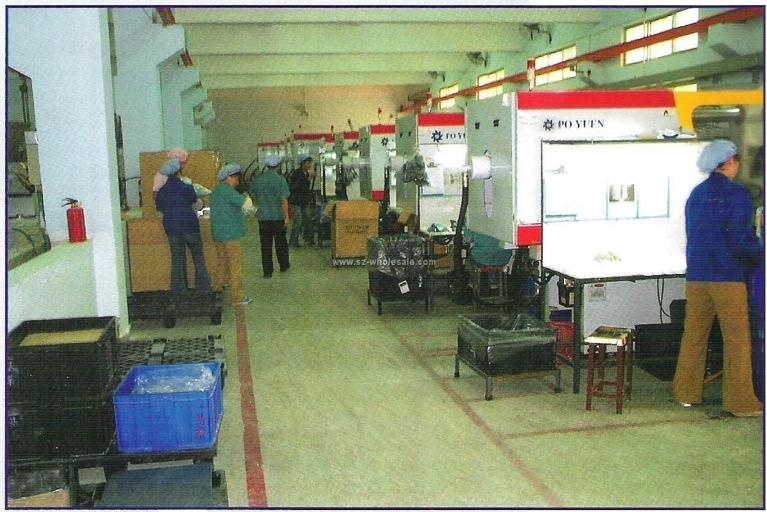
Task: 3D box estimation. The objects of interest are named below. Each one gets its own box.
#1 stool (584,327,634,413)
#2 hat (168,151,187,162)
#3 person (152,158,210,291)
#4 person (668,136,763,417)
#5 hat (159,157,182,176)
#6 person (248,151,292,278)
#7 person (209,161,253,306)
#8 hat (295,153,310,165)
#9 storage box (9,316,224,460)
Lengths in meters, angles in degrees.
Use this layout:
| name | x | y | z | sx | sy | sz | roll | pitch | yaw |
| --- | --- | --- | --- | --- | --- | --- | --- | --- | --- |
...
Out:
| name | x | y | z | sx | sy | sz | roll | pitch | yaw |
| --- | --- | --- | --- | --- | --- | --- | --- | --- | --- |
| stool | 1.865 | 0.867 | 5.675 | 0.378 | 0.600 | 0.875 | 0 | 7 | 17 |
| hat | -2.307 | -1.135 | 7.803 | 0.171 | 0.113 | 0.125 | -19 | 32 | -26 |
| person | -2.249 | -0.382 | 7.706 | 0.511 | 1.592 | 0.468 | -5 | 9 | -16 |
| person | 2.545 | 0.286 | 5.239 | 0.617 | 1.837 | 0.267 | 1 | 9 | 21 |
| hat | -2.347 | -0.980 | 7.627 | 0.225 | 0.211 | 0.223 | -4 | 7 | -15 |
| person | -1.552 | -0.447 | 9.605 | 0.503 | 1.487 | 0.664 | -4 | 8 | -9 |
| person | -1.738 | -0.240 | 7.988 | 0.489 | 1.633 | 0.377 | -3 | 8 | -6 |
| hat | -1.283 | -1.590 | 11.305 | 0.186 | 0.190 | 0.290 | -4 | 7 | -11 |
| storage box | -1.984 | 0.805 | 4.633 | 1.085 | 0.533 | 0.967 | -1 | 2 | -13 |
